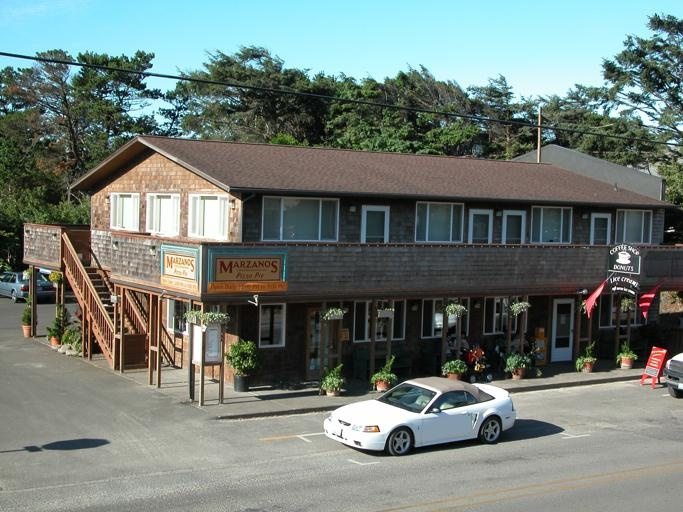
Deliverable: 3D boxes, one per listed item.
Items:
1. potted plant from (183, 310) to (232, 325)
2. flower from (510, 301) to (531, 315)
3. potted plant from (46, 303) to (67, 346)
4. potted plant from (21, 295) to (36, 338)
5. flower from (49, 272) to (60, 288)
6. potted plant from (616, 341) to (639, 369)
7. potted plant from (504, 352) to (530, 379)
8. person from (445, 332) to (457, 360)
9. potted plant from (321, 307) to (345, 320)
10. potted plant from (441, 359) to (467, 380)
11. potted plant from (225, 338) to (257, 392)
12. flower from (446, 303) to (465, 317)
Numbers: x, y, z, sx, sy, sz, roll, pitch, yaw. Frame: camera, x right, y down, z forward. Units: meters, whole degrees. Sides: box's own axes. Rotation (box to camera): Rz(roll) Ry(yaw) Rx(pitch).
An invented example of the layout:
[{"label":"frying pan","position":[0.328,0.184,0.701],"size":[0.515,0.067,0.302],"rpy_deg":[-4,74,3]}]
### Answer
[{"label":"potted plant","position":[-4.346,1.956,24.687],"size":[1.281,0.467,0.698],"rpy_deg":[5,7,29]},{"label":"flower","position":[6.726,1.950,29.239],"size":[0.646,0.311,0.729],"rpy_deg":[-2,-1,10]},{"label":"potted plant","position":[-11.896,2.864,32.088],"size":[0.787,1.709,1.373],"rpy_deg":[-1,7,-21]},{"label":"potted plant","position":[-14.050,2.685,34.362],"size":[0.592,1.577,1.691],"rpy_deg":[-1,7,-22]},{"label":"flower","position":[-12.313,1.007,32.918],"size":[0.470,0.830,2.027],"rpy_deg":[-1,7,-21]},{"label":"potted plant","position":[11.723,4.021,31.586],"size":[0.676,1.004,0.787],"rpy_deg":[2,6,2]},{"label":"potted plant","position":[6.635,4.098,29.000],"size":[0.845,0.879,0.897],"rpy_deg":[-2,0,21]},{"label":"person","position":[4.180,3.408,29.303],"size":[0.588,0.817,0.298],"rpy_deg":[3,-12,-8]},{"label":"potted plant","position":[-0.334,1.986,26.329],"size":[0.477,0.241,0.495],"rpy_deg":[-1,0,41]},{"label":"potted plant","position":[4.006,4.079,27.811],"size":[0.713,0.526,0.716],"rpy_deg":[1,-8,-16]},{"label":"potted plant","position":[-3.388,3.673,25.944],"size":[1.002,1.762,1.049],"rpy_deg":[0,7,-8]},{"label":"flower","position":[4.033,1.940,27.796],"size":[0.512,0.370,0.599],"rpy_deg":[2,-4,-31]}]
